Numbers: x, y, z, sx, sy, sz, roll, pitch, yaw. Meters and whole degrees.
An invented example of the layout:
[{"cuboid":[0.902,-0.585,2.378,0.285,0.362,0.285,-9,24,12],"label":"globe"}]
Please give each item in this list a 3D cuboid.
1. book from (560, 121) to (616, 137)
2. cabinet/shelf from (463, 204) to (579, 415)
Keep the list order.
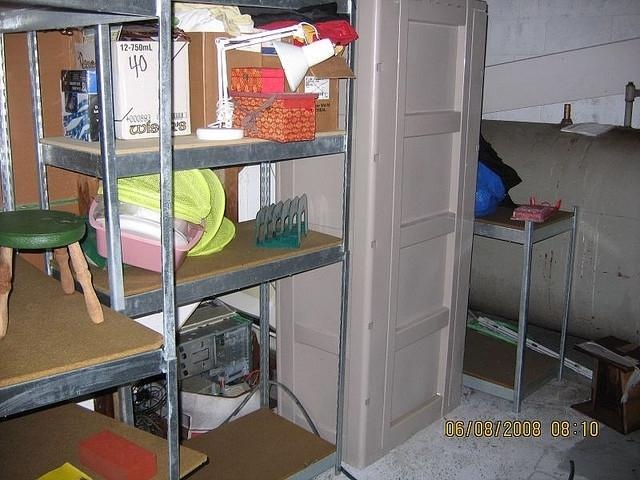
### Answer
[{"cuboid":[1.732,-0.720,3.538,0.300,0.106,0.313,9,12,39],"label":"book"},{"cuboid":[1.184,0.359,3.242,0.447,1.124,0.748,8,11,38],"label":"cabinet/shelf"}]
